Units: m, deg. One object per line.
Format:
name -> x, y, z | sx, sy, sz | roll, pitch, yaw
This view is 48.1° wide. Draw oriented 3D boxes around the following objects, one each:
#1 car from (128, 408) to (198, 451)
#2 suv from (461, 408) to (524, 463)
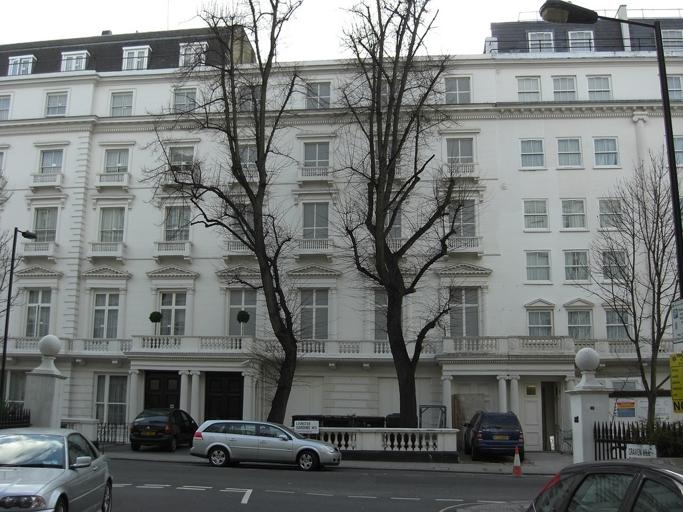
car -> -8.297, 8.182, 36.161 | 1.561, 1.921, 3.026 | -11, -17, 34
suv -> 6.845, 8.143, 35.419 | 1.639, 1.419, 3.292 | 1, -7, 3
